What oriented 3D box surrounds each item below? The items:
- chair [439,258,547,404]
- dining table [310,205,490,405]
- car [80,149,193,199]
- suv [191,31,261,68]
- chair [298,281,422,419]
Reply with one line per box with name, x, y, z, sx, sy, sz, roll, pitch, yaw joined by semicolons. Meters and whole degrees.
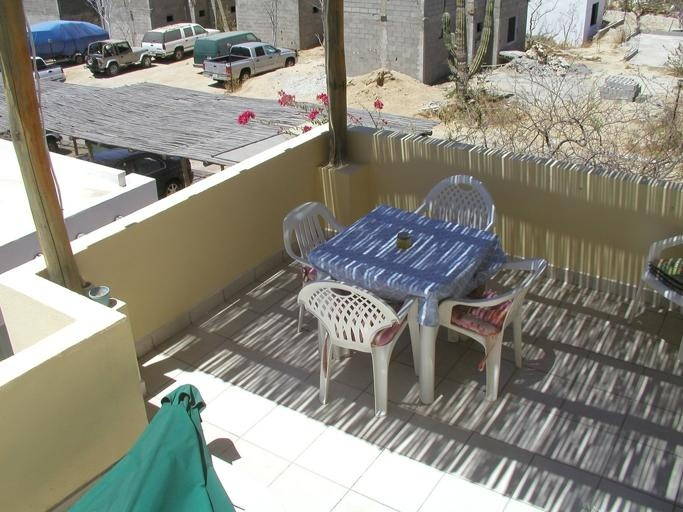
chair;1.201;0.562;3.947;0.718;1.029;0.840;12;26;33
dining table;0.737;0.403;4.587;1.483;1.202;1.522;22;47;30
car;-4.061;-1.585;9.673;2.477;0.877;1.037;9;22;-18
suv;-5.281;-9.934;21.940;1.728;1.442;2.876;25;47;35
chair;0.184;0.576;3.890;0.924;1.308;0.833;14;33;30
